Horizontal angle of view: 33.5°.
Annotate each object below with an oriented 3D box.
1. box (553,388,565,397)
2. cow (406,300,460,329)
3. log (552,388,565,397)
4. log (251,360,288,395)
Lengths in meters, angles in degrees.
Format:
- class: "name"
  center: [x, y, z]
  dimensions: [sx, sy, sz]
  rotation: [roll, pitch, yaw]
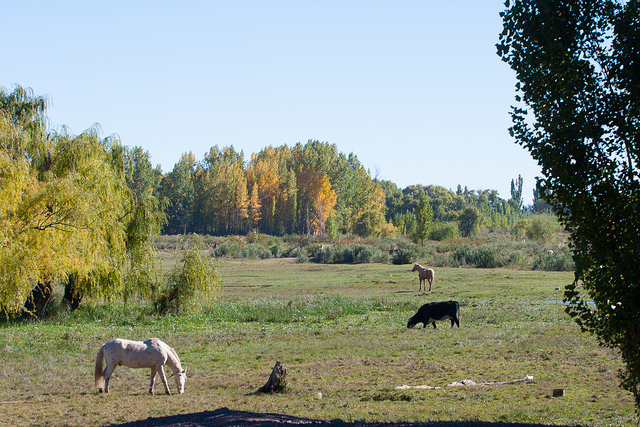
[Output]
- class: "box"
  center: [11.208, 8.400, 50.230]
  dimensions: [0.347, 0.262, 0.383]
  rotation: [1, 1, 6]
- class: "cow"
  center: [6.606, 5.855, 61.665]
  dimensions: [2.799, 1.519, 1.357]
  rotation: [0, 6, 5]
- class: "log"
  center: [11.197, 8.413, 50.229]
  dimensions: [0.344, 0.267, 0.380]
  rotation: [1, -1, 10]
- class: "log"
  center: [-2.343, 7.774, 50.999]
  dimensions: [1.339, 1.468, 0.889]
  rotation: [-2, 6, -11]
